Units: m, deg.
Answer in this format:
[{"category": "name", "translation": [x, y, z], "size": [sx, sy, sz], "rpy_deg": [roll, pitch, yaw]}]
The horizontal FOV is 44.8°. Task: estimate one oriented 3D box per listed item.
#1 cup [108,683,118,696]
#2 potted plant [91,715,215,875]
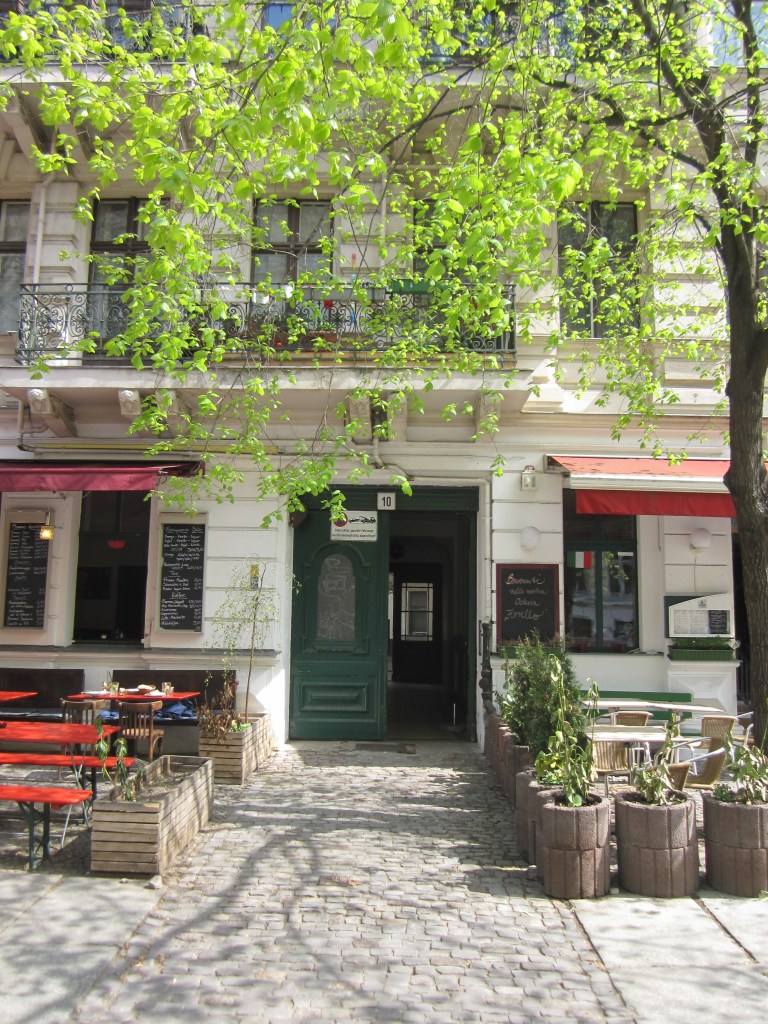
[{"category": "cup", "translation": [-2.718, 1.792, 9.421], "size": [0.114, 0.114, 0.107], "rpy_deg": [-1, -3, 0]}, {"category": "potted plant", "translation": [-1.661, 2.148, 6.727], "size": [0.506, 0.638, 1.257], "rpy_deg": [1, -4, 6]}]
